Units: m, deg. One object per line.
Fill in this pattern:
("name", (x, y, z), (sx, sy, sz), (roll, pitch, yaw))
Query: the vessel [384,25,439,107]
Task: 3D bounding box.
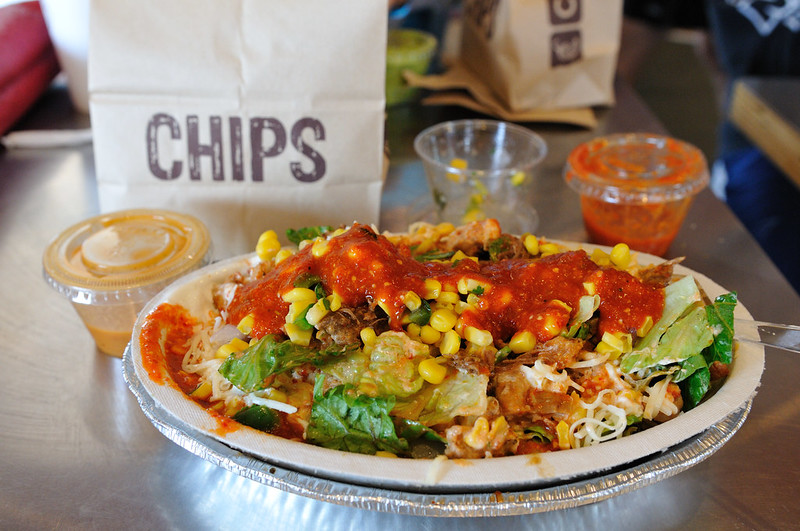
("vessel", (0.075, -1.550, 5.178), (0.577, 0.432, 0.591), (-1, 27, -2))
